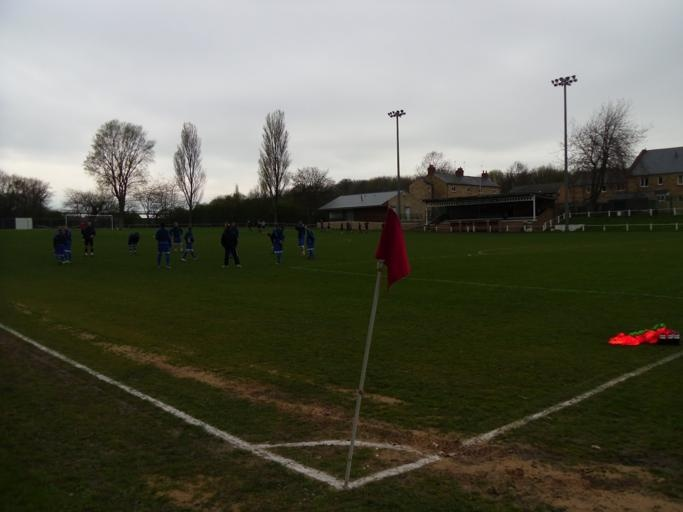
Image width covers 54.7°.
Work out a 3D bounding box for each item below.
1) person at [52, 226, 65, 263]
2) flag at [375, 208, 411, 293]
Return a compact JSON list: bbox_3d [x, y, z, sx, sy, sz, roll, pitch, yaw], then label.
[{"bbox_3d":[-11.193,-0.386,26.127,0.422,1.421,1.977,-4,7,-23],"label":"person"},{"bbox_3d":[0.607,-0.100,7.823,0.376,0.929,0.692,-1,7,3],"label":"flag"}]
